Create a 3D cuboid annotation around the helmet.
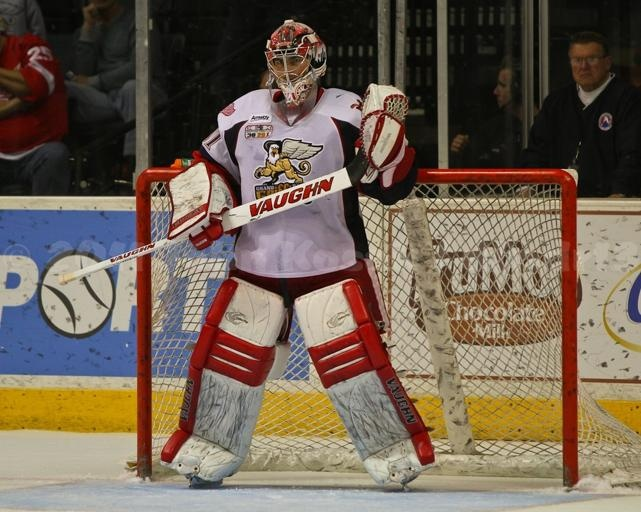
[{"bbox_3d":[-0.120,-0.887,5.039,0.368,0.424,0.401,0,6,12],"label":"helmet"}]
